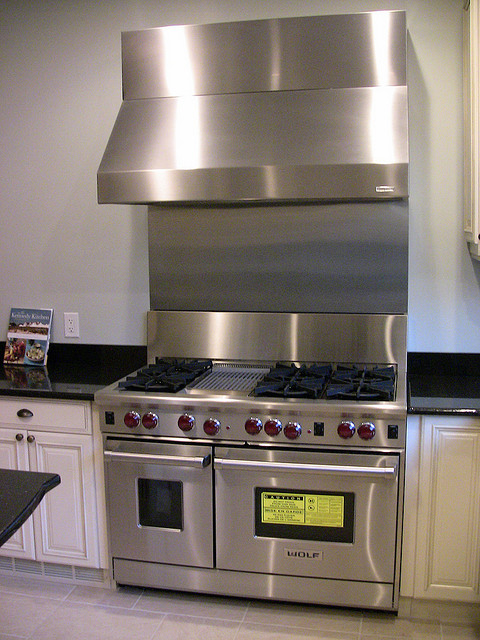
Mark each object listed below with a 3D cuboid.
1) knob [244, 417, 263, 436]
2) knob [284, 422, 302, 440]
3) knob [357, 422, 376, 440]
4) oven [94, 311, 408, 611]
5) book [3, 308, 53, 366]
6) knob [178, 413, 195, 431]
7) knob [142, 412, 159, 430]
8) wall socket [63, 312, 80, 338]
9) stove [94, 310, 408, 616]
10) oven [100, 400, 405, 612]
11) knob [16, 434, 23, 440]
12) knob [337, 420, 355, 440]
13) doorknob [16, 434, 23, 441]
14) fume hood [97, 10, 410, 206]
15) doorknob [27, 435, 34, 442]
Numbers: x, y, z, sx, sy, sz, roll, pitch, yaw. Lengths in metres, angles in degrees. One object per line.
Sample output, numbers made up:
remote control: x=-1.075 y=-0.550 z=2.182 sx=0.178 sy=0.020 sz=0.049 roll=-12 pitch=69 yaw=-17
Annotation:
knob: x=0.043 y=0.346 z=1.839 sx=0.057 sy=0.064 sz=0.041 roll=-1 pitch=6 yaw=6
knob: x=0.165 y=0.350 z=1.801 sx=0.055 sy=0.054 sz=0.038 roll=-1 pitch=6 yaw=7
knob: x=0.389 y=0.341 z=1.761 sx=0.056 sy=0.052 sz=0.038 roll=-1 pitch=6 yaw=7
oven: x=0.056 y=0.484 z=2.098 sx=1.061 sy=0.941 sz=0.626 roll=0 pitch=9 yaw=5
book: x=-0.985 y=0.086 z=2.686 sx=0.264 sy=0.318 sz=0.054 roll=0 pitch=-10 yaw=15
knob: x=-0.178 y=0.335 z=1.873 sx=0.042 sy=0.054 sz=0.019 roll=2 pitch=-3 yaw=15
knob: x=-0.299 y=0.332 z=1.903 sx=0.044 sy=0.057 sz=0.023 roll=2 pitch=0 yaw=16
wall socket: x=-0.788 y=0.026 z=2.679 sx=0.075 sy=0.115 sz=0.016 roll=0 pitch=6 yaw=22
stove: x=0.060 y=0.531 z=1.972 sx=0.990 sy=0.963 sz=0.517 roll=1 pitch=8 yaw=12
oven: x=0.070 y=0.631 z=2.178 sx=1.046 sy=0.689 sz=0.677 roll=1 pitch=-1 yaw=9
knob: x=-0.827 y=0.437 z=2.146 sx=0.018 sy=0.018 sz=0.018 roll=16 pitch=25 yaw=31
knob: x=0.326 y=0.341 z=1.764 sx=0.053 sy=0.060 sz=0.040 roll=-1 pitch=6 yaw=5
doorknob: x=-0.826 y=0.438 z=2.145 sx=0.020 sy=0.020 sz=0.022 roll=9 pitch=10 yaw=-20
fume hood: x=0.058 y=-0.702 z=1.986 sx=1.302 sy=0.725 sz=0.458 roll=4 pitch=16 yaw=10
doorknob: x=-0.783 y=0.444 z=2.140 sx=0.025 sy=0.025 sz=0.018 roll=-2 pitch=6 yaw=0
